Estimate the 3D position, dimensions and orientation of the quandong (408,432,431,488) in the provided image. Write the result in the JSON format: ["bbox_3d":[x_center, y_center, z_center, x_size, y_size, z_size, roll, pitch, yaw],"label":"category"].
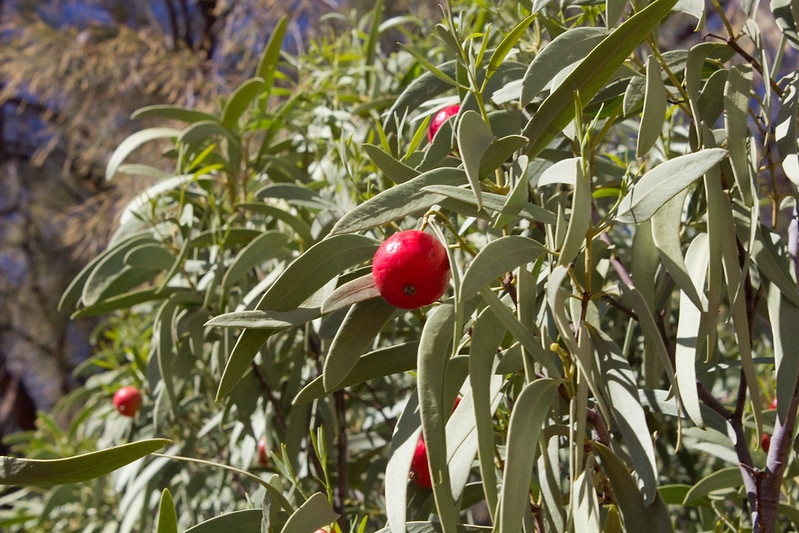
[{"bbox_3d":[0.037,0.348,1.639,0.046,0.093,0.056,3,-9,-32],"label":"quandong"}]

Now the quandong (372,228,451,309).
[{"bbox_3d":[0.026,0.009,1.605,0.103,0.154,0.135,0,-49,17],"label":"quandong"}]

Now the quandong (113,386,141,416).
[{"bbox_3d":[-0.657,0.324,2.193,0.063,0.074,0.117,-3,-15,-18],"label":"quandong"}]
